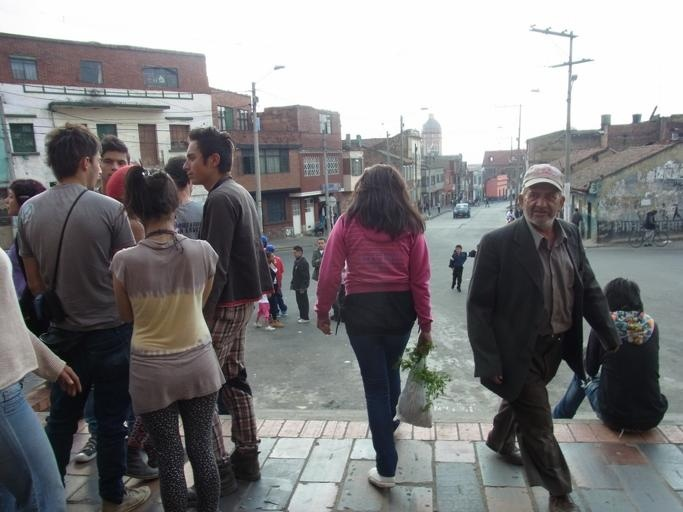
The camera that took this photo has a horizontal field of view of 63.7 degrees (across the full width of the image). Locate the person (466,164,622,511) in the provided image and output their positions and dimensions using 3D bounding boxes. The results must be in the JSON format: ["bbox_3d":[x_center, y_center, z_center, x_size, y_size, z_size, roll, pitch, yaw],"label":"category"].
[{"bbox_3d":[1.420,0.512,4.088,0.825,2.323,0.913,8,14,36],"label":"person"}]

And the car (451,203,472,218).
[{"bbox_3d":[12.528,-4.717,57.449,1.140,1.062,2.844,-3,2,10],"label":"car"}]

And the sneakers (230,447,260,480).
[{"bbox_3d":[-0.734,1.555,4.208,0.123,0.223,0.320,-1,8,-27],"label":"sneakers"}]

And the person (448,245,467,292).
[{"bbox_3d":[3.429,0.408,16.296,0.455,1.297,1.026,2,11,12],"label":"person"}]

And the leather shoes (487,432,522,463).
[{"bbox_3d":[1.350,1.541,4.360,0.119,0.149,0.313,9,-3,-26],"label":"leather shoes"}]

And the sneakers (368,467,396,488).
[{"bbox_3d":[0.294,1.625,4.047,0.103,0.097,0.199,14,-1,-37],"label":"sneakers"}]

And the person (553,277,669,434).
[{"bbox_3d":[2.615,1.022,5.452,0.649,1.445,1.518,5,-8,0],"label":"person"}]

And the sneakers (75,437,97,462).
[{"bbox_3d":[-2.094,1.625,4.552,0.099,0.126,0.312,2,-16,-1],"label":"sneakers"}]
